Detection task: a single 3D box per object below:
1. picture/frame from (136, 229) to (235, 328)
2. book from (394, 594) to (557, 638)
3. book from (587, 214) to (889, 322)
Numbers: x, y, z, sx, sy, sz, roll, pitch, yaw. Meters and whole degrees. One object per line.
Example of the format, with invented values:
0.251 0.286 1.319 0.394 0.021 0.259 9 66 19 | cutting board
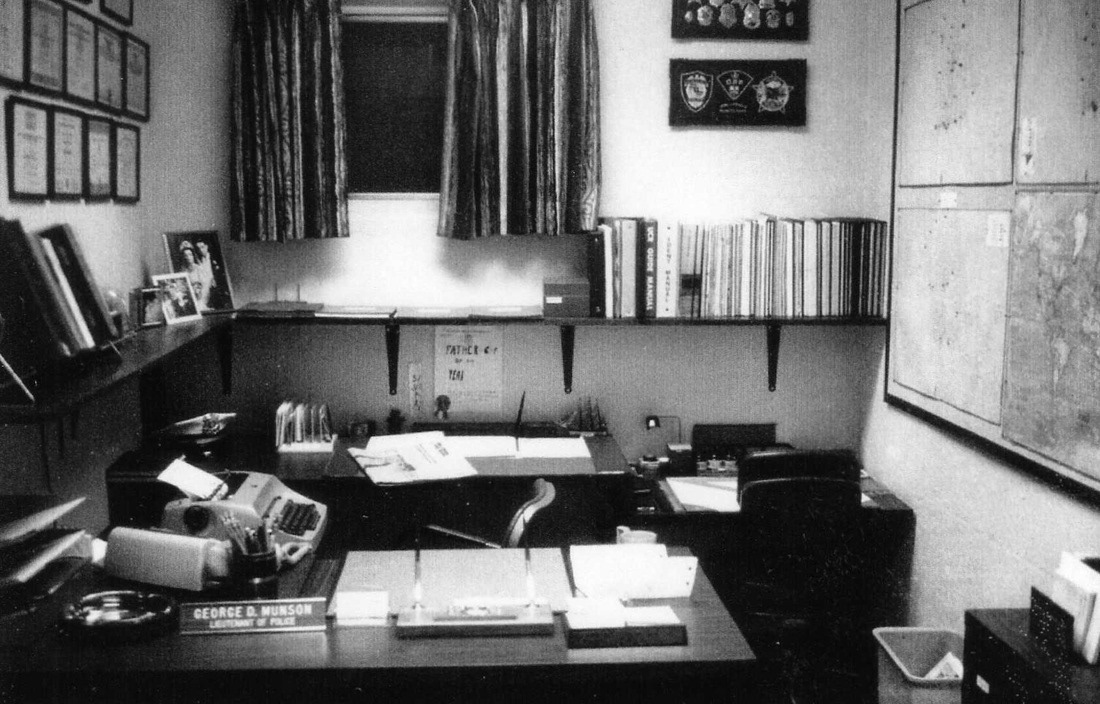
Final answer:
-1.630 -0.324 3.973 0.041 0.538 0.450 -19 -5 28 | picture/frame
-0.223 0.802 2.722 0.471 0.078 0.113 -2 11 -4 | book
0.877 -0.379 4.113 1.333 0.477 0.088 -2 11 -2 | book
